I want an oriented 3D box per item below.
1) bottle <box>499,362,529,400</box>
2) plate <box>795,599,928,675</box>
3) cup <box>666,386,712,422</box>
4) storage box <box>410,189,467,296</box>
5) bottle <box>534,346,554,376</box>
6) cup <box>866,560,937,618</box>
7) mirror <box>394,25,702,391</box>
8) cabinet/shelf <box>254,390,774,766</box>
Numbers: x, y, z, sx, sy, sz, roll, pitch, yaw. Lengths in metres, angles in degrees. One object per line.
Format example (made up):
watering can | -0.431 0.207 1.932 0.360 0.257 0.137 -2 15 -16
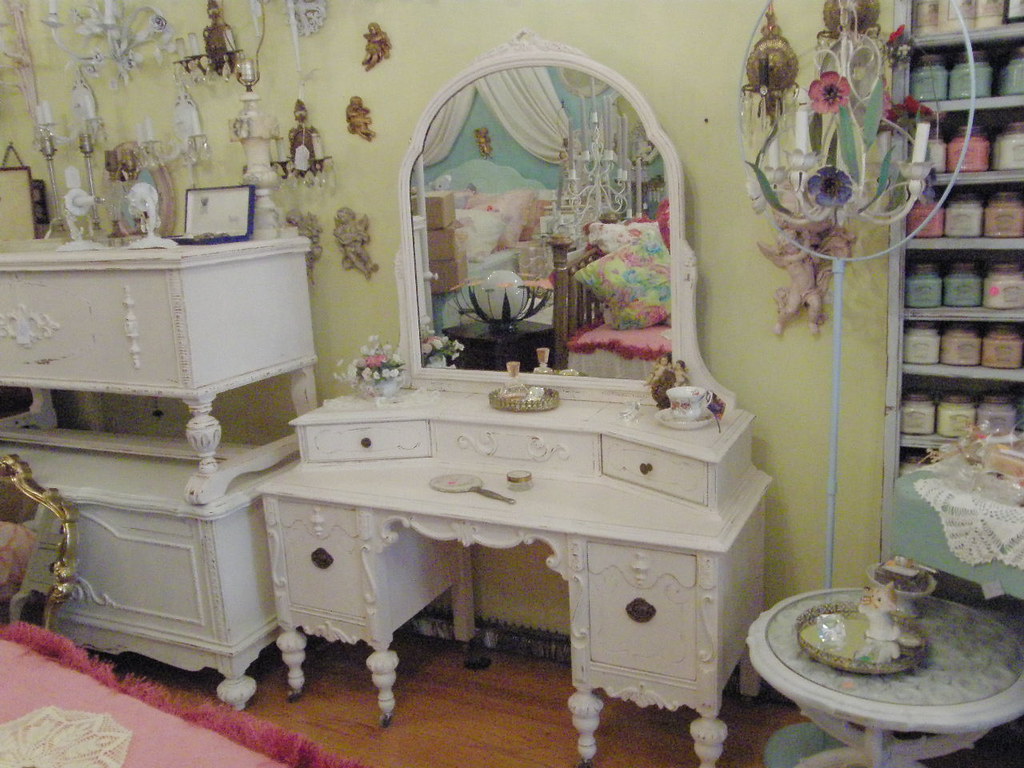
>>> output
bottle | 0.006 -0.011 3.596 0.137 0.130 0.136 0 10 -8
plate | 1.008 0.784 2.663 0.211 0.031 0.231 -15 12 -28
cup | 0.642 0.073 3.228 0.145 0.087 0.104 -2 7 -4
storage box | -0.304 -0.604 3.683 0.151 0.405 0.422 -8 2 -7
bottle | 0.123 -0.095 3.663 0.094 0.097 0.101 8 14 30
cup | 1.234 0.638 2.813 0.198 0.133 0.198 -1 4 0
mirror | 0.184 -0.713 3.490 1.555 1.552 0.063 1 15 17
cabinet/shelf | 0.016 0.744 3.388 1.299 0.865 0.494 5 15 25
